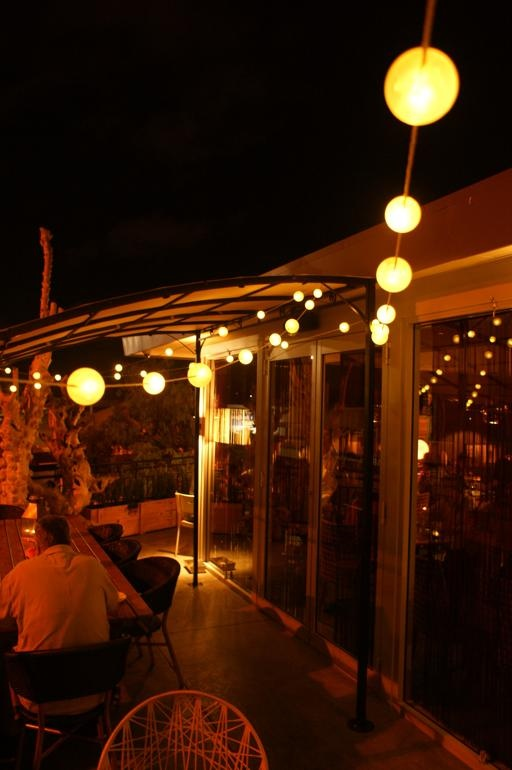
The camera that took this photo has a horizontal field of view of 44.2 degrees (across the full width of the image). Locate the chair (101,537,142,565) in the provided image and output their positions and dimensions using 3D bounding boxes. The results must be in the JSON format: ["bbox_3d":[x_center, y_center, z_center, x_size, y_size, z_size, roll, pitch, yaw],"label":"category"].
[{"bbox_3d":[-1.152,1.405,5.340,0.231,0.287,0.250,0,-21,42],"label":"chair"}]

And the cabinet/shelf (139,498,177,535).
[{"bbox_3d":[-1.537,2.054,9.897,0.381,0.523,0.729,-7,-9,42],"label":"cabinet/shelf"}]
